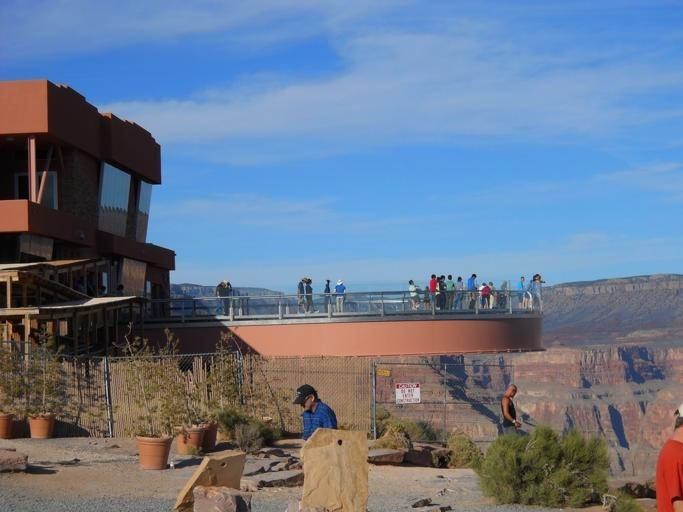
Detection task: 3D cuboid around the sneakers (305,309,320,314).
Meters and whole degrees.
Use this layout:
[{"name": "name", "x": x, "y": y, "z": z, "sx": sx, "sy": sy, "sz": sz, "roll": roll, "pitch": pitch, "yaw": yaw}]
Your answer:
[{"name": "sneakers", "x": -1.158, "y": 2.170, "z": 52.978, "sx": 0.614, "sy": 0.186, "sz": 0.081, "roll": -8, "pitch": 1, "yaw": 15}]

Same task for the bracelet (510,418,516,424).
[{"name": "bracelet", "x": 5.069, "y": 4.938, "z": 40.280, "sx": 0.141, "sy": 0.161, "sz": 0.035, "roll": -3, "pitch": 0, "yaw": 10}]

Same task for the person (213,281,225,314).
[{"name": "person", "x": -4.949, "y": 1.693, "z": 54.749, "sx": 0.446, "sy": 1.283, "sz": 2.031, "roll": -7, "pitch": 1, "yaw": -4}]

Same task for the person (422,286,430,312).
[{"name": "person", "x": 3.288, "y": 1.731, "z": 52.833, "sx": 0.294, "sy": 0.805, "sz": 0.124, "roll": -7, "pitch": 2, "yaw": -12}]

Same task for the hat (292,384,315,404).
[{"name": "hat", "x": -0.949, "y": 3.519, "z": 34.618, "sx": 0.549, "sy": 0.330, "sz": 0.377, "roll": -17, "pitch": 10, "yaw": -37}]
